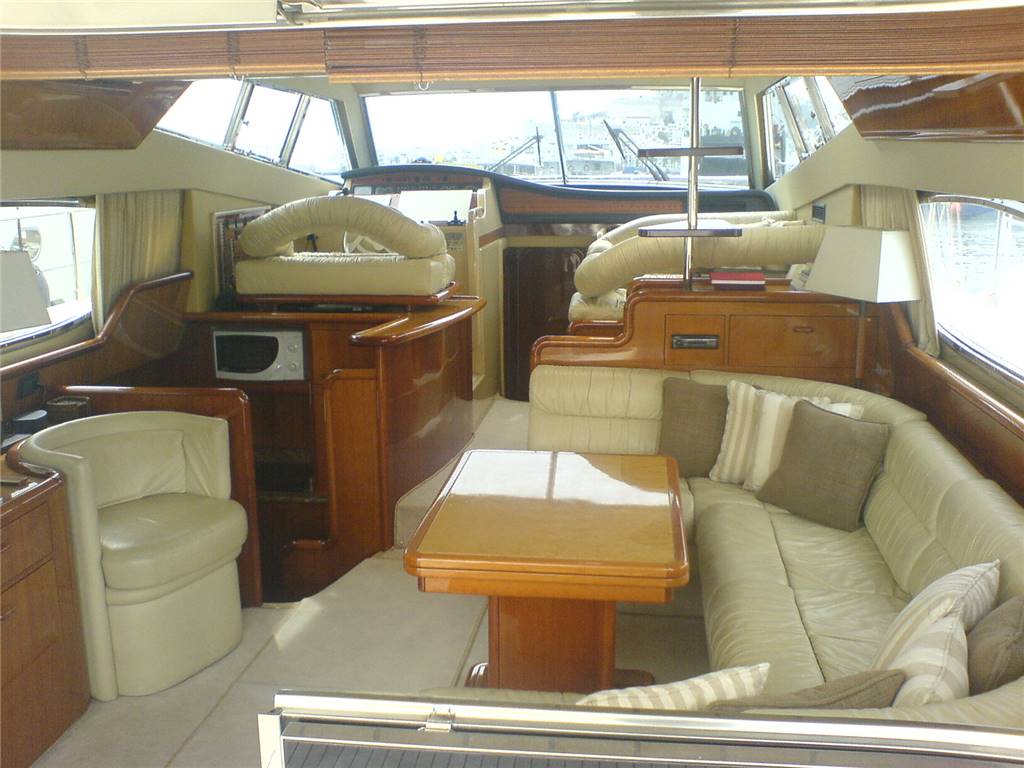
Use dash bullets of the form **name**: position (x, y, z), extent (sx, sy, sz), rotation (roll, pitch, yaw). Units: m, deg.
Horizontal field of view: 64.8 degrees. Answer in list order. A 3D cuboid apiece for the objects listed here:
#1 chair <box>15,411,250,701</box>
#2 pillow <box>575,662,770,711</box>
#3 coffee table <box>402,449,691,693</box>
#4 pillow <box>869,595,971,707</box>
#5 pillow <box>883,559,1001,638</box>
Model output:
- **chair**: position (-1.357, 0.582, 2.921), extent (0.676, 0.813, 0.749), rotation (5, 11, 13)
- **pillow**: position (0.343, 0.585, 1.559), extent (0.382, 0.075, 0.144), rotation (4, -15, -10)
- **coffee table**: position (0.118, 0.442, 2.514), extent (0.760, 0.738, 0.760), rotation (0, 22, 3)
- **pillow**: position (0.843, 0.555, 1.659), extent (0.138, 0.137, 0.369), rotation (10, 15, 27)
- **pillow**: position (1.006, 0.501, 1.874), extent (0.058, 0.192, 0.188), rotation (49, 23, 14)
